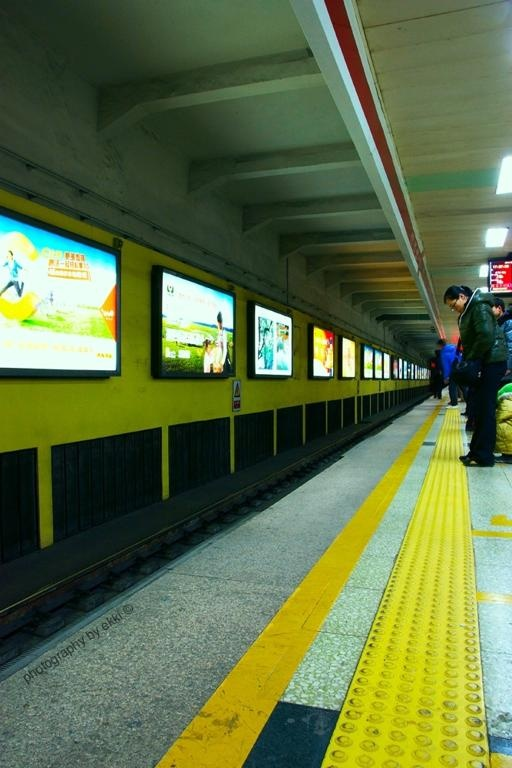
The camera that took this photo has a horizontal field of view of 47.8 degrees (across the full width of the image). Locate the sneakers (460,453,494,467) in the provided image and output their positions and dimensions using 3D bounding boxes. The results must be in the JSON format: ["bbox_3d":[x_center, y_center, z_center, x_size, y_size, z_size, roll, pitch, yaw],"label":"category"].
[{"bbox_3d":[2.315,0.794,6.080,0.143,0.103,0.273,1,-7,-40],"label":"sneakers"}]

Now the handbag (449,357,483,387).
[{"bbox_3d":[2.200,-0.141,5.945,0.286,0.251,0.475,3,0,32],"label":"handbag"}]
